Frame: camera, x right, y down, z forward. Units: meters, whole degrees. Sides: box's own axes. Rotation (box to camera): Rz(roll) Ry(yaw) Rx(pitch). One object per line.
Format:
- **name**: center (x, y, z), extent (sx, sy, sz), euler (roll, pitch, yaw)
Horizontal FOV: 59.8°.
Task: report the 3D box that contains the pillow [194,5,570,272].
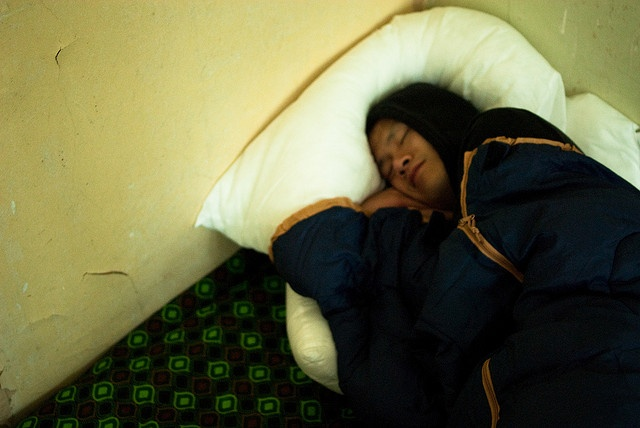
- **pillow**: center (0.222, -0.290, 2.326), extent (1.218, 0.817, 0.373), euler (-34, -14, -4)
